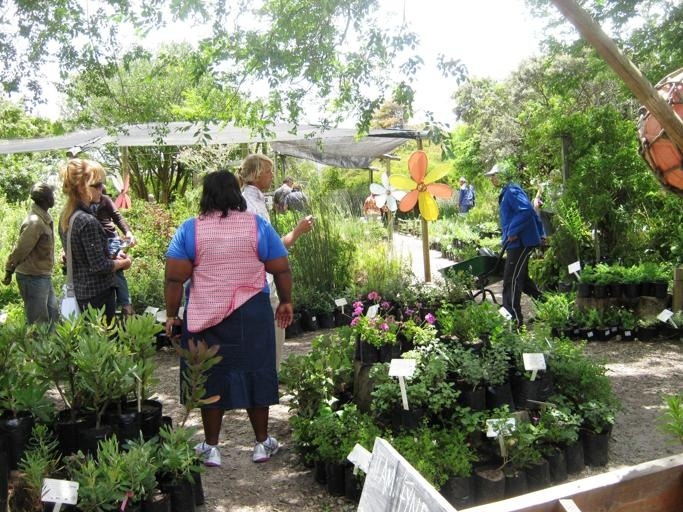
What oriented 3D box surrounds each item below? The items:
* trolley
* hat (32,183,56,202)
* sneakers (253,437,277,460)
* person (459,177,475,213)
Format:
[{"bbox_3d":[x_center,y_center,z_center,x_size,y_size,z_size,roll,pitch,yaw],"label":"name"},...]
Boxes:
[{"bbox_3d":[1.710,0.182,7.101,1.082,0.725,0.594,-13,-10,43],"label":"trolley"},{"bbox_3d":[-2.864,-0.607,5.614,0.201,0.188,0.313,-7,11,-27],"label":"hat"},{"bbox_3d":[-0.533,1.379,4.226,0.088,0.108,0.228,1,9,18],"label":"sneakers"},{"bbox_3d":[3.629,-1.726,16.876,0.414,1.024,0.929,0,10,11],"label":"person"}]
